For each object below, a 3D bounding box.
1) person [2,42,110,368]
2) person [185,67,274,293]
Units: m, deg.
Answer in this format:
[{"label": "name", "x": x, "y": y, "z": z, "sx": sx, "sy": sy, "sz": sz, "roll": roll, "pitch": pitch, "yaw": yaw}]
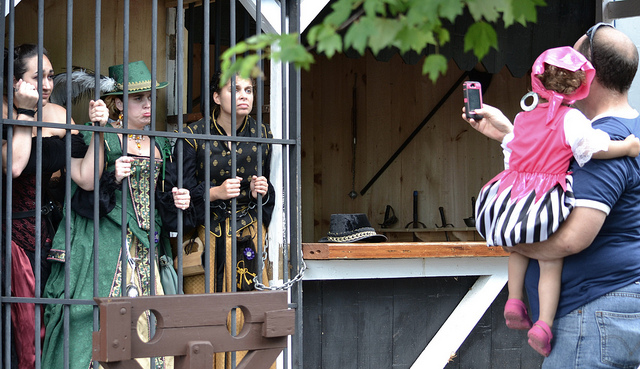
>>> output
[{"label": "person", "x": -1.795, "y": 0.137, "z": 7.471, "sx": 0.686, "sy": 2.155, "sz": 0.699, "roll": -2, "pitch": -1, "yaw": -11}, {"label": "person", "x": -0.624, "y": -0.049, "z": 7.646, "sx": 0.622, "sy": 1.550, "sz": 0.718, "roll": -2, "pitch": -1, "yaw": -3}]
